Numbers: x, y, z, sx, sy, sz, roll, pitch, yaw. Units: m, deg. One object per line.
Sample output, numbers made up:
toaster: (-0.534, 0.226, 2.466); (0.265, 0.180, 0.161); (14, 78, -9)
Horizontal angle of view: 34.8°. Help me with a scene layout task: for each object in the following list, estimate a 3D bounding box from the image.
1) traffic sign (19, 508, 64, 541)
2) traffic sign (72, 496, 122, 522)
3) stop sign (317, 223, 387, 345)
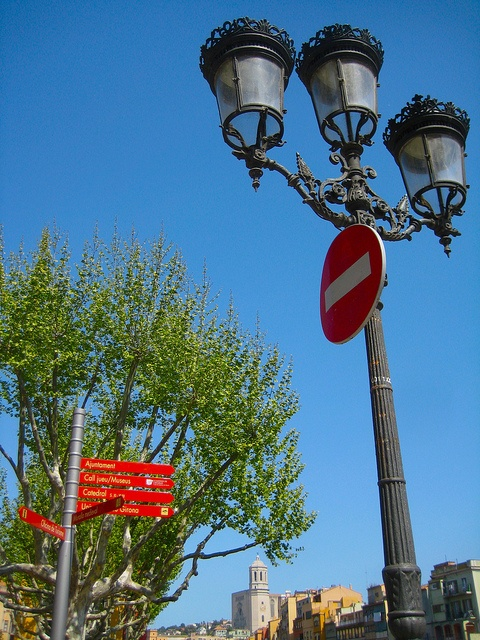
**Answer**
traffic sign: (-2.248, 2.360, 8.749); (0.493, 0.380, 0.637); (4, -25, -14)
traffic sign: (-1.658, 2.228, 8.857); (0.556, 0.309, 1.051); (3, -25, -12)
stop sign: (0.858, -0.310, 5.846); (0.096, 0.972, 0.831); (7, -25, -20)
